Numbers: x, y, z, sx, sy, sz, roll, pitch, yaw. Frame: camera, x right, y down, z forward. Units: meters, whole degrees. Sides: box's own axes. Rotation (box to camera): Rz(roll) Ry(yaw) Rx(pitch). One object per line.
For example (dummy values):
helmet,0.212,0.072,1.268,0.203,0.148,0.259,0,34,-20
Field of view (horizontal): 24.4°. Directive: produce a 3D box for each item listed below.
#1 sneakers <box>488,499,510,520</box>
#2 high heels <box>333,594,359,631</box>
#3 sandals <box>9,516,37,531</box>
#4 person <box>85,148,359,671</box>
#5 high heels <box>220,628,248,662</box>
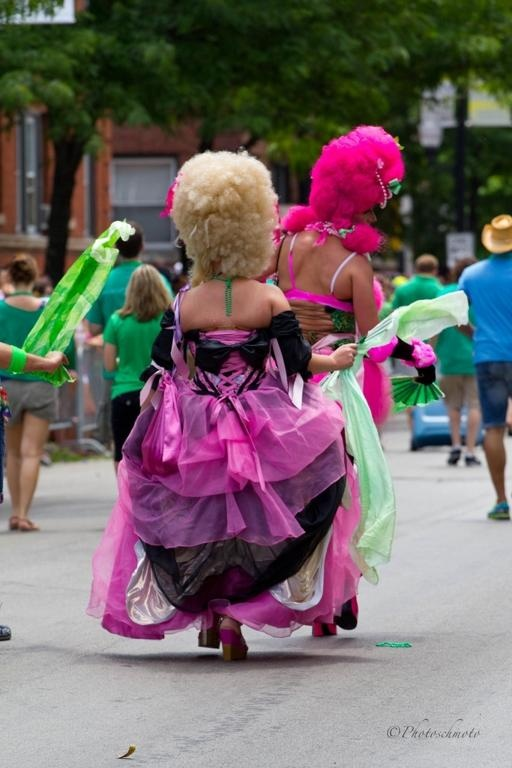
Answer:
sneakers,1.683,0.893,8.241,0.199,0.122,0.082,2,1,27
high heels,0.369,0.938,4.821,0.106,0.147,0.161,3,8,6
sandals,-1.678,1.015,8.573,0.256,0.089,0.085,1,7,9
person,-0.126,0.061,4.426,1.005,1.862,0.489,0,5,3
high heels,-0.083,0.972,4.380,0.072,0.108,0.163,2,5,18
